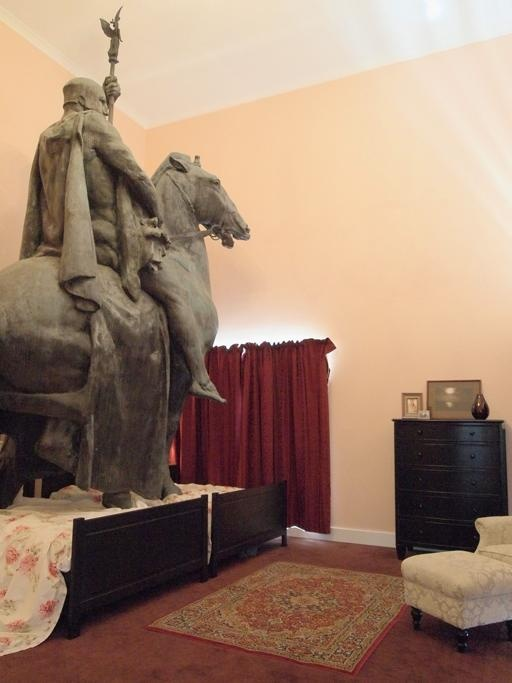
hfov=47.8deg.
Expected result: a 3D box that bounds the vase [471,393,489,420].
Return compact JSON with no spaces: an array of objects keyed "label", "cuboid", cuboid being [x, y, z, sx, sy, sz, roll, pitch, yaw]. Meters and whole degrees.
[{"label":"vase","cuboid":[1.789,0.523,4.642,0.114,0.200,0.141,-1,-8,15]}]

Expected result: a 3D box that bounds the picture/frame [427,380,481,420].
[{"label":"picture/frame","cuboid":[1.684,0.495,4.888,0.311,0.257,0.025,-2,-13,28]}]
